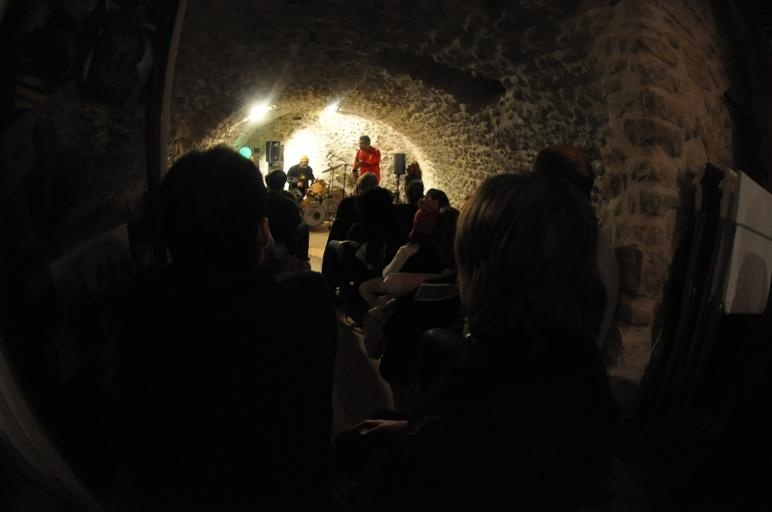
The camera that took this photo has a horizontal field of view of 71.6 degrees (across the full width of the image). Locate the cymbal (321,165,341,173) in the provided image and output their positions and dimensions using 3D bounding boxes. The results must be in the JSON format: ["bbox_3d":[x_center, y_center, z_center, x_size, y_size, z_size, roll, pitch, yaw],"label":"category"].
[{"bbox_3d":[-0.868,-1.384,8.533,0.307,0.078,0.315,-8,4,15],"label":"cymbal"}]

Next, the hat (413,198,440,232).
[{"bbox_3d":[0.137,-0.133,1.837,0.036,0.112,0.084,23,-14,-2],"label":"hat"}]

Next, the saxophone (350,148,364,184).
[{"bbox_3d":[-0.381,-1.150,6.957,0.178,0.519,0.374,5,2,0],"label":"saxophone"}]
